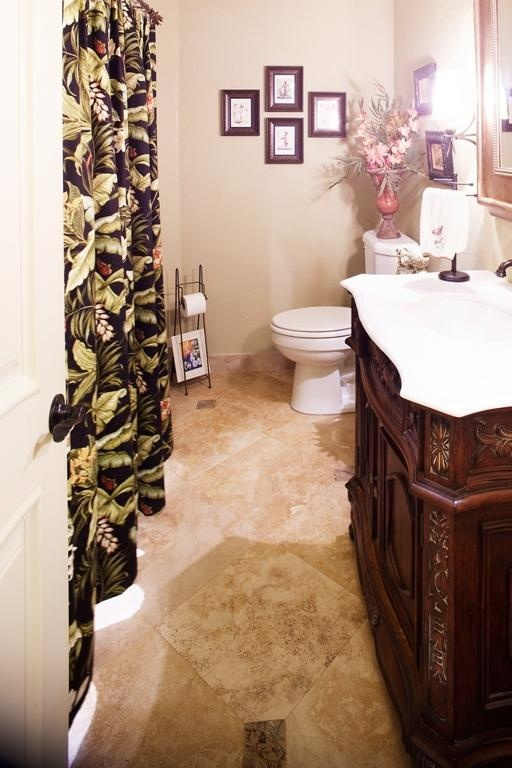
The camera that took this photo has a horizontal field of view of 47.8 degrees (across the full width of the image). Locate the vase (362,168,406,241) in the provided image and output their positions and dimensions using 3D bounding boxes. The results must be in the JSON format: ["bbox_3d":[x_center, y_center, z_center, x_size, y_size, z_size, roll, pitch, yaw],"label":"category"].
[{"bbox_3d":[0.631,-0.891,2.843,0.148,0.328,0.208,0,15,18],"label":"vase"}]

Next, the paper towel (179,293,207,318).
[{"bbox_3d":[-0.337,-0.416,3.128,0.144,0.133,0.124,-15,55,-32],"label":"paper towel"}]

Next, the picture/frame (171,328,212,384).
[{"bbox_3d":[-0.373,-0.159,3.243,0.222,0.279,0.093,-22,29,-32],"label":"picture/frame"}]

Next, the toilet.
[{"bbox_3d":[0.284,-0.367,3.230,0.928,1.146,0.595,-2,24,-5],"label":"toilet"}]
